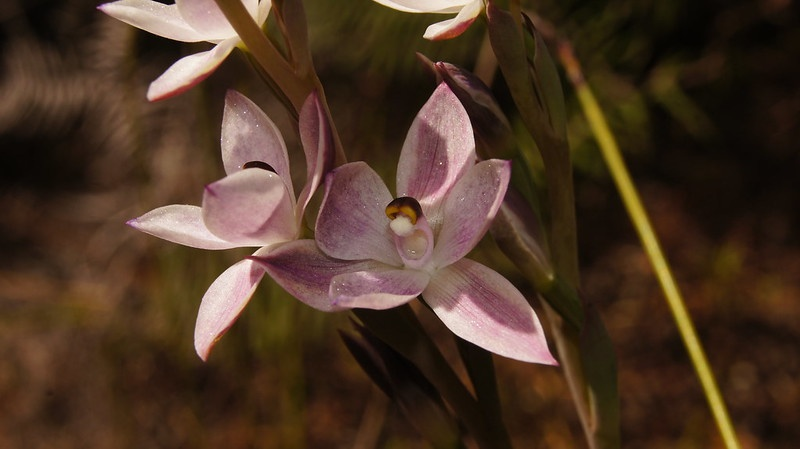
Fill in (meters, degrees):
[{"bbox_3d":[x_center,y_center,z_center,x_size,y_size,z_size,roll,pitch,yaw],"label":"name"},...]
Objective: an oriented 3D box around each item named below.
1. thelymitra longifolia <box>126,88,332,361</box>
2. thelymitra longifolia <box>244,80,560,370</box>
[{"bbox_3d":[-0.271,-0.015,1.726,0.439,0.268,0.566,-4,69,40],"label":"thelymitra longifolia"},{"bbox_3d":[0.070,0.022,1.592,0.575,0.248,0.621,29,46,28],"label":"thelymitra longifolia"}]
